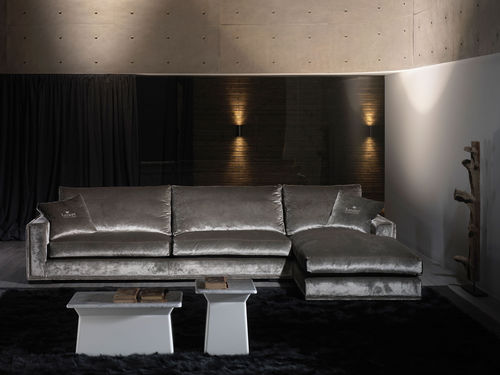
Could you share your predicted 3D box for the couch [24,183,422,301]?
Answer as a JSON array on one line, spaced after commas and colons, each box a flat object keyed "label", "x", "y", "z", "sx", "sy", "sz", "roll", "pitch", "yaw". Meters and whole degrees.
[{"label": "couch", "x": -0.269, "y": 0.517, "z": 5.057, "sx": 3.827, "sy": 0.904, "sz": 1.296, "roll": 2, "pitch": 11, "yaw": 7}]

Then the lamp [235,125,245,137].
[{"label": "lamp", "x": -0.163, "y": -0.863, "z": 7.212, "sx": 0.148, "sy": 0.298, "sz": 0.157, "roll": 1, "pitch": -4, "yaw": -6}]

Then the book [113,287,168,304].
[{"label": "book", "x": -0.822, "y": 0.793, "z": 3.570, "sx": 0.373, "sy": 0.065, "sz": 0.239, "roll": 0, "pitch": 11, "yaw": -2}]

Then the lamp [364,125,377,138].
[{"label": "lamp", "x": 1.875, "y": -0.865, "z": 7.404, "sx": 0.174, "sy": 0.187, "sz": 0.177, "roll": 0, "pitch": -3, "yaw": -2}]

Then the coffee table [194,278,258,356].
[{"label": "coffee table", "x": -0.194, "y": 1.034, "z": 3.729, "sx": 0.528, "sy": 0.557, "sz": 0.568, "roll": 1, "pitch": -4, "yaw": -14}]
